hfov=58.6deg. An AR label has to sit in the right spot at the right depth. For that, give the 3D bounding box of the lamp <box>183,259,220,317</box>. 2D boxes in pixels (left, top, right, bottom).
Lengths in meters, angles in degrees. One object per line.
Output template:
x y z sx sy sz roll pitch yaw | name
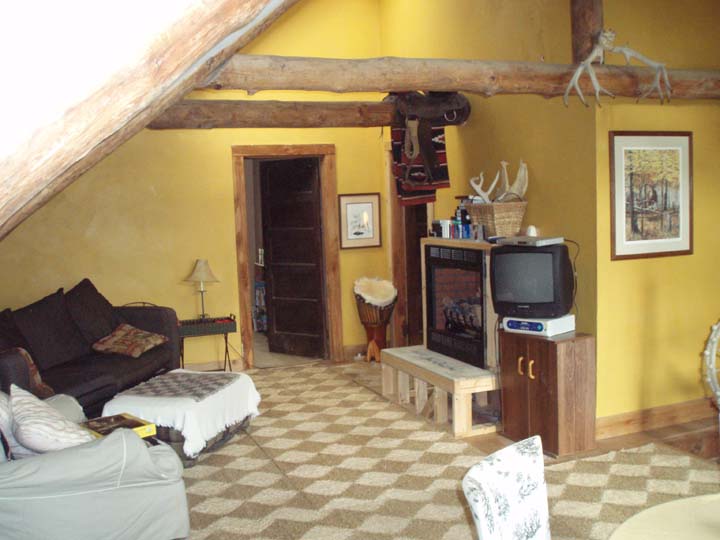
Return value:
-1.854 0.224 7.473 0.396 0.703 0.516 -5 8 -15 | lamp

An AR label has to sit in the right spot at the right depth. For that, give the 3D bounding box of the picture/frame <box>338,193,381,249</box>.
-0.031 -0.645 8.139 0.715 0.866 0.057 -2 2 -23 | picture/frame

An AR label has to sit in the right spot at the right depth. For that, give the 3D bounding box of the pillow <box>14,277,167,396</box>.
-2.553 0.632 6.404 0.921 0.889 1.762 3 12 19 | pillow

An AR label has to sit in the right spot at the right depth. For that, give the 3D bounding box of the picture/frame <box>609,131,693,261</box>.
2.378 -0.645 5.300 1.064 1.265 0.062 -4 6 -20 | picture/frame

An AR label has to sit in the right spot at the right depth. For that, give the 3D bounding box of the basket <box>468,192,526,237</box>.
1.210 -0.459 5.692 0.308 0.263 0.416 -1 -1 -26 | basket

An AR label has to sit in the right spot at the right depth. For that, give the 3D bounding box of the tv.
1.310 0.089 5.067 0.621 0.551 0.600 1 4 36 | tv
